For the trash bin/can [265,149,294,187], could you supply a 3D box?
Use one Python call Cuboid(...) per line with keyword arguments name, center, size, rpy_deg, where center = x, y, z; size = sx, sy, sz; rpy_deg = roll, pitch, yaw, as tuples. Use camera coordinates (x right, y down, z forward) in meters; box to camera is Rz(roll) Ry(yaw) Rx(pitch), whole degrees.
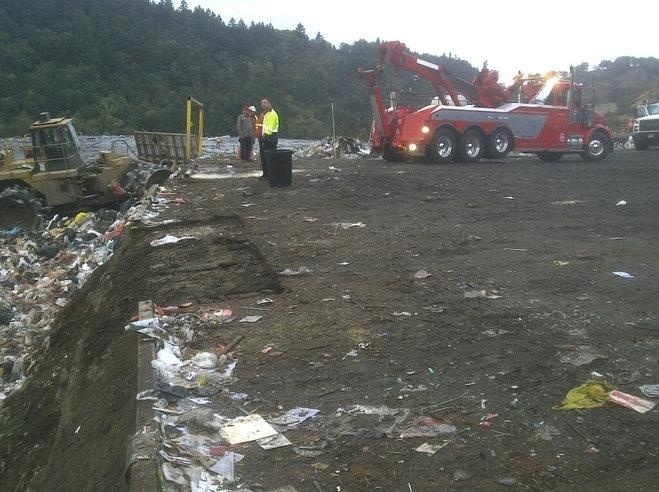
Cuboid(name="trash bin/can", center=(-1.095, -1.786, 10.930), size=(0.877, 0.775, 0.804), rpy_deg=(1, 13, 5))
